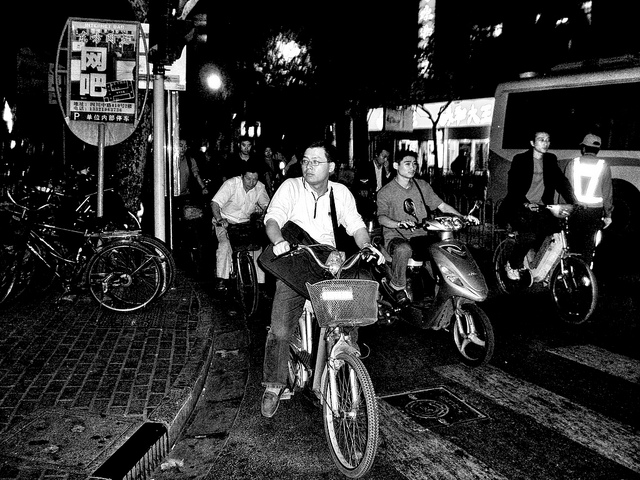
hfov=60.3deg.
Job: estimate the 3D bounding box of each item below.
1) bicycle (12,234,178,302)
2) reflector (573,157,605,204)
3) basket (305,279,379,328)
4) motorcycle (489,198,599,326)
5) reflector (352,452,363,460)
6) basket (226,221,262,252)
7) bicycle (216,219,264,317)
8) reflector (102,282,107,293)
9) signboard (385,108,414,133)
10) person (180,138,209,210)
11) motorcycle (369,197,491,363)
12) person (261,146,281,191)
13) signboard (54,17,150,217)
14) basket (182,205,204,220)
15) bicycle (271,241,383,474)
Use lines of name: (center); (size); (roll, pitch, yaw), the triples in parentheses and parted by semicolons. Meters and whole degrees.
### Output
bicycle: (-3.350, 0.512, 8.417); (2.030, 1.465, 1.110); (1, 6, 1)
reflector: (4.250, -0.966, 8.730); (0.553, 0.929, 0.431); (4, 7, 36)
basket: (0.271, 0.522, 4.745); (0.590, 0.450, 0.784); (-5, -11, 22)
motorcycle: (3.434, 0.228, 8.740); (1.061, 1.623, 2.415); (10, 2, -15)
reflector: (0.305, 1.767, 4.533); (0.059, 0.016, 0.059); (-29, -9, 20)
basket: (-1.156, -0.045, 8.426); (0.514, 0.381, 0.493); (-1, 12, -11)
bicycle: (-1.143, 0.393, 8.364); (0.650, 1.270, 0.956); (-4, 12, -24)
reflector: (-3.050, 0.663, 7.808); (0.057, 0.160, 0.069); (-4, 12, -23)
signboard: (3.183, -4.894, 22.347); (0.887, 0.884, 0.133); (0, 0, -18)
person: (-3.154, -1.721, 13.689); (0.625, 1.500, 2.429); (-2, 13, -13)
motorcycle: (1.298, 0.386, 7.114); (0.901, 1.829, 2.553); (-3, 14, -25)
person: (-1.828, -2.482, 20.367); (0.705, 2.133, 0.704); (7, 54, -2)
signboard: (-2.975, -1.638, 7.673); (1.170, 2.763, 1.549); (-4, 12, -24)
basket: (-2.354, -0.486, 10.144); (0.329, 0.274, 0.372); (-3, 13, -18)
bicycle: (0.081, 0.946, 4.809); (0.858, 1.806, 1.457); (-2, 12, -16)
